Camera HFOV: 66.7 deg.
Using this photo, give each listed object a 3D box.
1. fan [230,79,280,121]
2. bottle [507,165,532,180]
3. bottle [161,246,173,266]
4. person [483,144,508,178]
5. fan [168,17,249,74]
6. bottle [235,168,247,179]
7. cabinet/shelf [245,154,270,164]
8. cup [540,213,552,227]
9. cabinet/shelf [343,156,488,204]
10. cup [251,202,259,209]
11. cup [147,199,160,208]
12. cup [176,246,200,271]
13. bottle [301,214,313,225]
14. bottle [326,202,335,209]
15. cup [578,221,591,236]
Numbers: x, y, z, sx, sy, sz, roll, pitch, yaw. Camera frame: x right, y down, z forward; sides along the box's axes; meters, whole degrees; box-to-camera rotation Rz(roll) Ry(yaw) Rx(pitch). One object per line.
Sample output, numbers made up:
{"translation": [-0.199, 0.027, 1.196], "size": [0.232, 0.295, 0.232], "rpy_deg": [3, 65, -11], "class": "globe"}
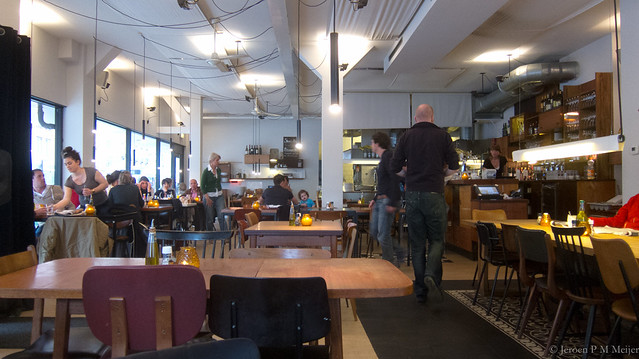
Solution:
{"translation": [-1.946, -2.502, 14.947], "size": [0.935, 1.031, 0.924], "rpy_deg": [-3, 0, 9], "class": "fan"}
{"translation": [5.467, -0.179, 13.186], "size": [0.243, 0.296, 0.449], "rpy_deg": [0, 0, -13], "class": "bottle"}
{"translation": [-1.954, 0.967, 6.212], "size": [0.127, 0.147, 0.115], "rpy_deg": [-3, -1, -17], "class": "bottle"}
{"translation": [3.983, -0.412, 11.124], "size": [0.567, 0.733, 0.323], "rpy_deg": [-2, -2, -37], "class": "person"}
{"translation": [-2.435, -3.114, 11.507], "size": [1.391, 0.578, 1.177], "rpy_deg": [0, -1, 8], "class": "fan"}
{"translation": [-2.965, -0.197, 18.176], "size": [0.419, 0.256, 0.214], "rpy_deg": [-3, -1, -9], "class": "bottle"}
{"translation": [-2.308, -0.767, 17.817], "size": [0.897, 0.248, 0.252], "rpy_deg": [-3, -2, -18], "class": "cabinet/shelf"}
{"translation": [3.837, 0.687, 8.161], "size": [0.218, 0.211, 0.205], "rpy_deg": [0, -6, 0], "class": "cup"}
{"translation": [2.103, 0.024, 10.172], "size": [1.503, 0.961, 0.783], "rpy_deg": [0, 3, 7], "class": "cabinet/shelf"}
{"translation": [-1.417, 0.582, 10.727], "size": [0.171, 0.173, 0.164], "rpy_deg": [-1, 1, 0], "class": "cup"}
{"translation": [-3.729, 0.555, 10.863], "size": [0.228, 0.130, 0.226], "rpy_deg": [2, -4, 0], "class": "cup"}
{"translation": [-1.688, 1.039, 6.337], "size": [0.329, 0.288, 0.316], "rpy_deg": [0, -4, 0], "class": "cup"}
{"translation": [-0.218, 0.680, 8.210], "size": [0.192, 0.168, 0.184], "rpy_deg": [-1, 1, -7], "class": "bottle"}
{"translation": [0.243, 0.580, 10.540], "size": [0.148, 0.133, 0.150], "rpy_deg": [7, -10, -40], "class": "bottle"}
{"translation": [3.944, 0.740, 7.211], "size": [0.212, 0.221, 0.203], "rpy_deg": [0, -6, 0], "class": "cup"}
